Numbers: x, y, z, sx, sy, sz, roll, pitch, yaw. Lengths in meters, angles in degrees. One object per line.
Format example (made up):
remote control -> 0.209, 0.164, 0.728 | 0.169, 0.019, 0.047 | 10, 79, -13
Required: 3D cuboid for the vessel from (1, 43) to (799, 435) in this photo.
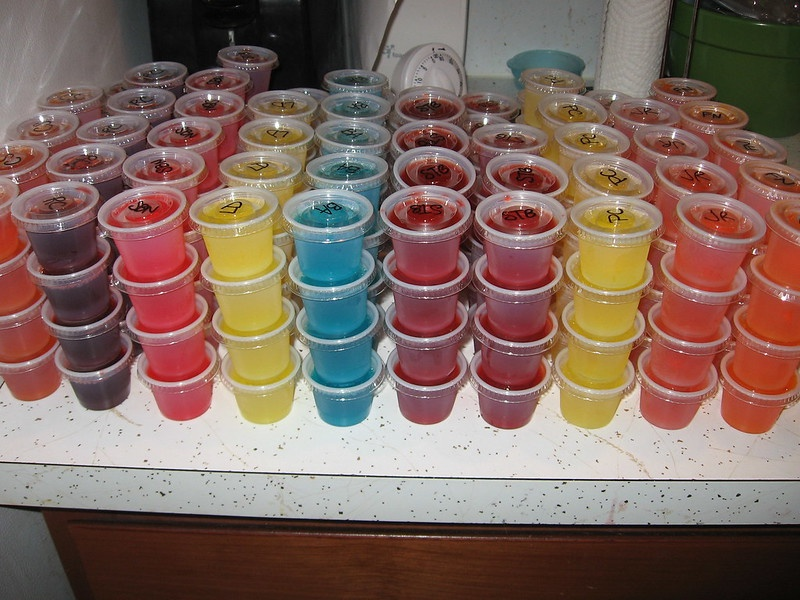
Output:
vessel -> -0.200, -0.229, 1.251 | 0.996, 0.540, 0.734 | -2, 25, -8
